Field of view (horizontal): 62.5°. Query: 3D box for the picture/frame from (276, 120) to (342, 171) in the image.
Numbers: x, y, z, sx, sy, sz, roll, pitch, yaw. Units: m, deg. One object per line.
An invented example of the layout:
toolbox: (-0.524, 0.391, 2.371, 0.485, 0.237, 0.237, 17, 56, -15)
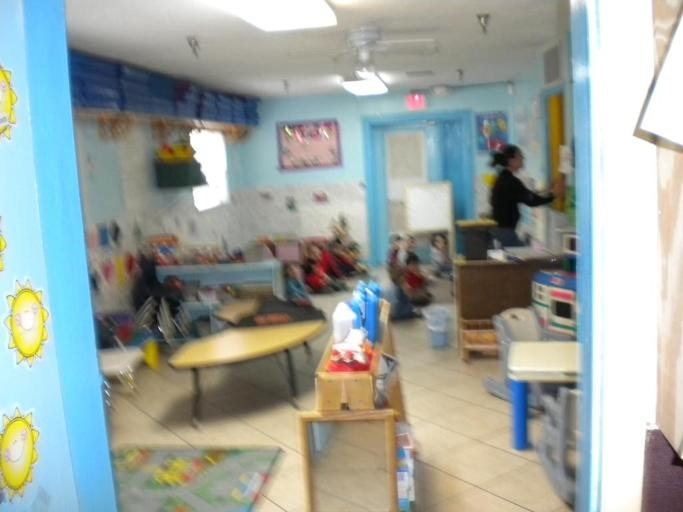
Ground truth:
picture/frame: (-0.109, -0.335, 1.700, 0.200, 0.148, 0.047, -4, 3, 4)

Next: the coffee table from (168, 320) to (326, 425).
coffee table: (-0.304, 0.282, 1.783, 0.519, 0.255, 0.259, -7, 43, -1)

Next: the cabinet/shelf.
cabinet/shelf: (0.488, 0.159, 1.664, 0.282, 0.267, 0.157, -3, 1, 10)

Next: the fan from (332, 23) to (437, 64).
fan: (0.139, -0.614, 1.657, 0.199, 0.053, 0.116, 2, 6, 8)

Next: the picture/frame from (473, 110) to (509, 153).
picture/frame: (0.441, -0.368, 1.646, 0.125, 0.159, 0.012, -1, 1, 9)

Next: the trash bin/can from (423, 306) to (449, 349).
trash bin/can: (0.311, 0.246, 1.801, 0.086, 0.161, 0.086, -2, 26, 1)
